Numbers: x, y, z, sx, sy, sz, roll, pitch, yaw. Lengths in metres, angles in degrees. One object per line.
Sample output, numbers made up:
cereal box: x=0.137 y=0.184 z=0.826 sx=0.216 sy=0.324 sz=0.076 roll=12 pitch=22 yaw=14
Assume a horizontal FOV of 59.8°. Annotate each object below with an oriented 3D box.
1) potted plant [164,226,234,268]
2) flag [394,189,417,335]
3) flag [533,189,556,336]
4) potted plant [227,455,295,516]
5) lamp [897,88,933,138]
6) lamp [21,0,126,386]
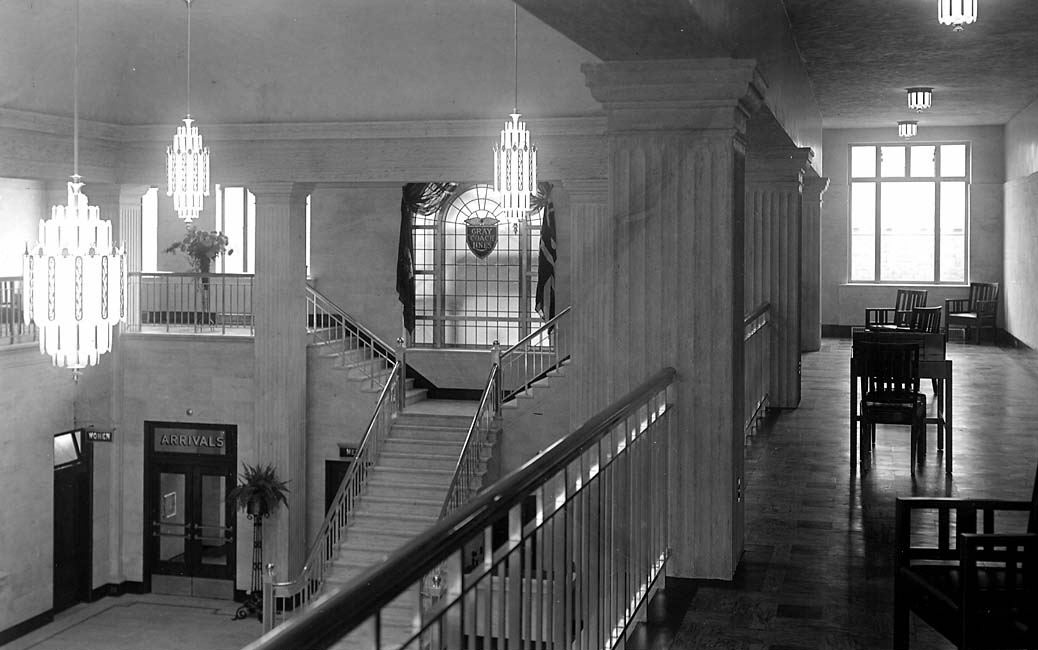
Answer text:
potted plant: x=-6.407 y=-1.535 z=18.129 sx=1.169 sy=1.044 sz=1.185 roll=-6 pitch=5 yaw=4
flag: x=-2.279 y=-1.262 z=18.260 sx=0.393 sy=3.101 sz=0.202 roll=-1 pitch=2 yaw=-7
flag: x=0.506 y=-1.382 z=17.802 sx=0.451 sy=2.612 sz=0.328 roll=0 pitch=2 yaw=7
potted plant: x=-4.420 y=2.790 z=15.430 sx=0.934 sy=0.665 sz=0.929 roll=-3 pitch=7 yaw=-32
lamp: x=7.423 y=-3.993 z=17.008 sx=0.312 sy=0.284 sz=1.194 roll=2 pitch=-17 yaw=8
lamp: x=-5.801 y=-0.681 z=11.688 sx=1.131 sy=2.542 sz=1.086 roll=-1 pitch=2 yaw=-16
